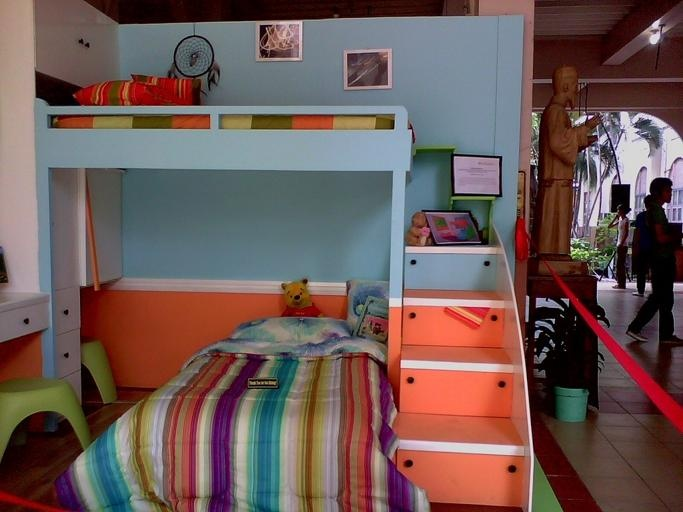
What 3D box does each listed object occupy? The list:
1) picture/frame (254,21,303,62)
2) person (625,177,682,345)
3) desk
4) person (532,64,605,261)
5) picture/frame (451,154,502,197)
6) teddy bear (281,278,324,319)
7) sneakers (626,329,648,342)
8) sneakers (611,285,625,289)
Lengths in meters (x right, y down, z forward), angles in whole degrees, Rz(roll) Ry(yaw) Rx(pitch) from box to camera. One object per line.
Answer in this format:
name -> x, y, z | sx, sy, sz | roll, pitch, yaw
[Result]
picture/frame -> -0.499, -1.743, 4.456 | 0.303, 0.250, 0.021 | 1, 3, 7
person -> 3.459, 0.050, 5.956 | 0.550, 1.763, 0.583 | 6, 9, 29
desk -> 1.716, 0.535, 4.281 | 0.575, 0.992, 0.362 | 4, 9, 20
person -> 1.773, -0.752, 4.369 | 0.422, 1.475, 0.319 | 4, 8, 19
picture/frame -> 1.030, -0.616, 4.254 | 0.307, 0.274, 0.045 | 1, -6, 1
teddy bear -> -0.345, 0.360, 4.445 | 0.346, 0.385, 0.180 | -5, 10, 11
sneakers -> 3.194, 0.872, 6.008 | 0.235, 0.104, 0.087 | 21, -3, 24
sneakers -> 4.869, 0.528, 9.728 | 0.187, 0.084, 0.092 | 5, 7, 32
